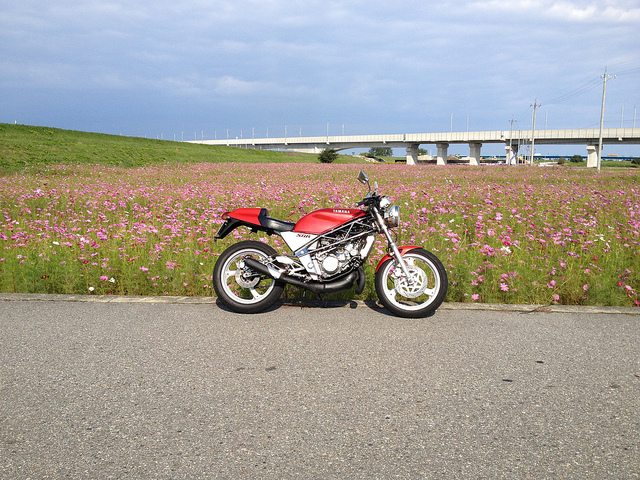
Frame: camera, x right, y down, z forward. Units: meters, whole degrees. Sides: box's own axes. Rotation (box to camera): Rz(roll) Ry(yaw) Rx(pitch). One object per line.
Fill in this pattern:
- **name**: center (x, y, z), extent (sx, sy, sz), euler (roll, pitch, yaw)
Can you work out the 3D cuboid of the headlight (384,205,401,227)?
- **headlight**: center (0.933, -0.286, 6.134), extent (0.248, 0.324, 0.346), euler (0, -3, 11)
